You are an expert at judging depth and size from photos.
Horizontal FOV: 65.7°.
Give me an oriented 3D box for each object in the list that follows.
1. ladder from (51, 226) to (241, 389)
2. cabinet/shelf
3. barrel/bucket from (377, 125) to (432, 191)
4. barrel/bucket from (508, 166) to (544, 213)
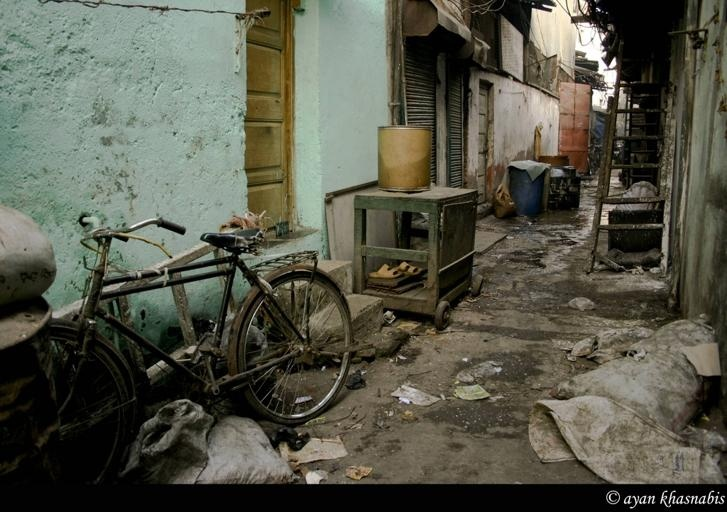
[{"bbox_3d":[-1.325,0.215,3.831,0.678,0.865,1.398,7,-2,36],"label":"ladder"},{"bbox_3d":[0.607,-0.115,6.222,1.020,1.163,1.343,7,11,29],"label":"cabinet/shelf"},{"bbox_3d":[0.416,-1.041,6.105,0.625,0.702,0.639,0,5,0],"label":"barrel/bucket"},{"bbox_3d":[3.675,-1.502,12.950,0.893,1.049,0.888,2,7,0],"label":"barrel/bucket"}]
